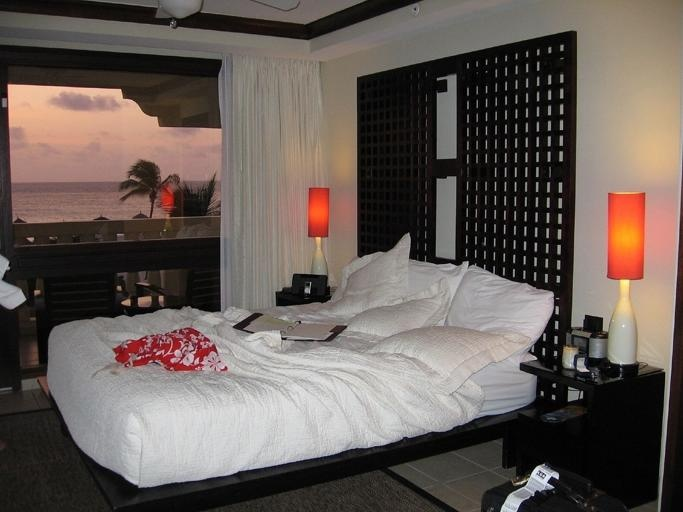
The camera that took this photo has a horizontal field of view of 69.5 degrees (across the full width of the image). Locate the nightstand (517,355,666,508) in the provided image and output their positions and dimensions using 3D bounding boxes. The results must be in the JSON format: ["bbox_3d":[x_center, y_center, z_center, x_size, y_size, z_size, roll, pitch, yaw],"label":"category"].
[{"bbox_3d":[1.537,1.098,3.433,0.936,1.034,0.694,1,2,-29],"label":"nightstand"}]

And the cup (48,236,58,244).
[{"bbox_3d":[-2.895,-0.158,4.954,0.063,0.047,0.069,1,1,0],"label":"cup"}]

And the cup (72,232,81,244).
[{"bbox_3d":[-2.703,-0.169,5.043,0.082,0.107,0.084,0,5,0],"label":"cup"}]

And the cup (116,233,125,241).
[{"bbox_3d":[-2.346,-0.200,5.230,0.088,0.089,0.063,1,-2,-34],"label":"cup"}]

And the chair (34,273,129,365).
[{"bbox_3d":[-2.855,0.487,5.439,0.972,1.431,0.797,-3,7,-33],"label":"chair"}]

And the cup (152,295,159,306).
[{"bbox_3d":[-2.048,0.488,5.416,0.092,0.109,0.093,1,6,0],"label":"cup"}]

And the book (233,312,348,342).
[{"bbox_3d":[-0.422,0.543,3.753,0.531,0.078,0.318,6,11,17],"label":"book"}]

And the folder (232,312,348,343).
[{"bbox_3d":[-0.414,0.545,3.745,0.531,0.081,0.318,6,11,17],"label":"folder"}]

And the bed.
[{"bbox_3d":[-0.176,0.796,3.004,2.044,0.650,1.749,-1,8,-29],"label":"bed"}]
